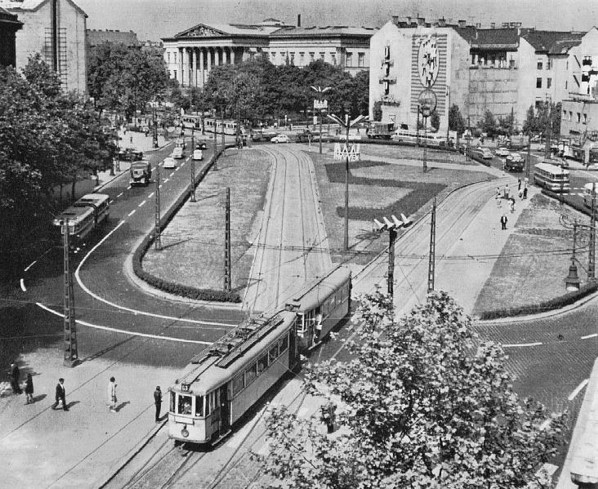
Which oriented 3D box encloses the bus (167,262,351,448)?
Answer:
[{"bbox_3d":[-1.310,5.664,55.868,3.015,4.597,24.313,5,16,22],"label":"bus"}]
